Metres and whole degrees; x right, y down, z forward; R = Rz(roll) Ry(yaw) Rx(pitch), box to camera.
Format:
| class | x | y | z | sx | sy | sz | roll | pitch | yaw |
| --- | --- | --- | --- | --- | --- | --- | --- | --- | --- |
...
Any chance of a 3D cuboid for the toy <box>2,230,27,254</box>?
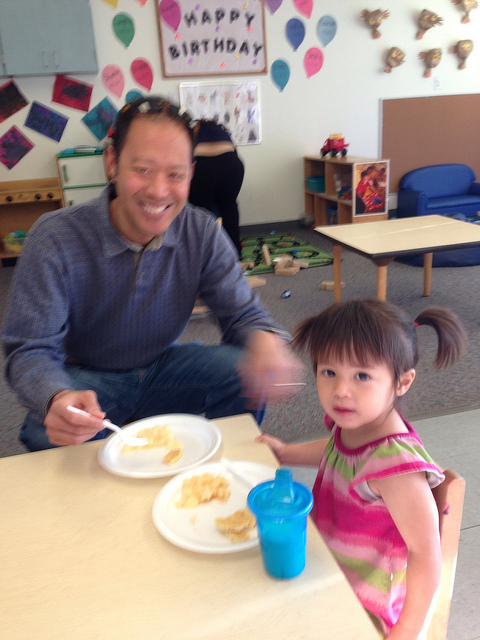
| class | x | y | z | sx | sy | sz | roll | pitch | yaw |
| --- | --- | --- | --- | --- | --- | --- | --- | --- | --- |
| toy | -2.315 | -0.793 | 4.813 | 0.227 | 0.232 | 0.365 | -12 | 14 | -24 |

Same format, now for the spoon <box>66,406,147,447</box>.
| class | x | y | z | sx | sy | sz | roll | pitch | yaw |
| --- | --- | --- | --- | --- | --- | --- | --- | --- | --- |
| spoon | -0.259 | 0.219 | 0.953 | 0.035 | 0.040 | 0.246 | 26 | 4 | 17 |

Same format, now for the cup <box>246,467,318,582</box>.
| class | x | y | z | sx | sy | sz | roll | pitch | yaw |
| --- | --- | --- | --- | --- | --- | --- | --- | --- | --- |
| cup | 0.052 | 0.242 | 0.564 | 0.082 | 0.122 | 0.082 | -1 | 10 | 0 |

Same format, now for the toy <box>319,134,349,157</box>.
| class | x | y | z | sx | sy | sz | roll | pitch | yaw |
| --- | --- | --- | --- | --- | --- | --- | --- | --- | --- |
| toy | 0.998 | -1.846 | 4.995 | 0.278 | 0.254 | 0.257 | -3 | 13 | 13 |

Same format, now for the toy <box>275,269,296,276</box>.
| class | x | y | z | sx | sy | sz | roll | pitch | yaw |
| --- | --- | --- | --- | --- | --- | --- | --- | --- | --- |
| toy | 0.393 | -0.400 | 4.028 | 0.173 | 0.058 | 0.078 | -5 | 13 | 4 |

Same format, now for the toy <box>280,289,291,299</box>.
| class | x | y | z | sx | sy | sz | roll | pitch | yaw |
| --- | --- | --- | --- | --- | --- | --- | --- | --- | --- |
| toy | 0.344 | -0.187 | 3.503 | 0.034 | 0.043 | 0.098 | 7 | 26 | 10 |

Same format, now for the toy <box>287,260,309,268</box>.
| class | x | y | z | sx | sy | sz | roll | pitch | yaw |
| --- | --- | --- | --- | --- | --- | --- | --- | --- | --- |
| toy | 0.494 | -0.488 | 4.184 | 0.137 | 0.071 | 0.199 | -17 | 17 | -42 |

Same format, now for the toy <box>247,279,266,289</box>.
| class | x | y | z | sx | sy | sz | roll | pitch | yaw |
| --- | --- | --- | --- | --- | --- | --- | --- | --- | --- |
| toy | 0.152 | -0.290 | 3.812 | 0.137 | 0.052 | 0.070 | -8 | 13 | -11 |
